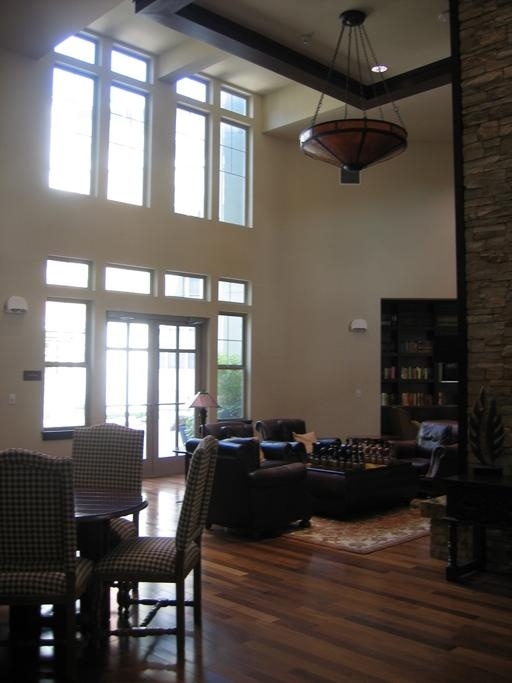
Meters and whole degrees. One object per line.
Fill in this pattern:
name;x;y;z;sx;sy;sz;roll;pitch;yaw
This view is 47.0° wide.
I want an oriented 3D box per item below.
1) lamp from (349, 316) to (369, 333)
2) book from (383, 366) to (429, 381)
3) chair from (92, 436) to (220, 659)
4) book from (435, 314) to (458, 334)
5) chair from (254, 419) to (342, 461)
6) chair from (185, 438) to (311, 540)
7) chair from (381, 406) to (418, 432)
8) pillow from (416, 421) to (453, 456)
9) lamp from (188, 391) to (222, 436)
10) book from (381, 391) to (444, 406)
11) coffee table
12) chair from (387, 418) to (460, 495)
lamp;1.702;-0.257;9.748;0.327;0.247;0.133;1;-6;-4
book;2.646;0.571;10.167;0.641;0.235;0.206;0;-18;1
chair;-0.456;0.938;2.830;0.522;0.953;0.620;1;-6;-4
book;3.197;-0.278;9.920;0.343;0.311;0.174;6;-12;5
chair;0.446;1.185;7.116;0.516;0.474;0.473;4;-12;-34
chair;-0.035;1.199;5.065;0.825;0.782;0.879;1;-6;-31
chair;2.333;1.330;9.738;0.506;0.551;0.413;2;1;-15
pillow;2.143;1.161;7.080;0.168;0.372;0.366;22;-17;-29
lamp;-0.577;0.829;6.509;0.448;0.509;0.412;-5;-13;10
book;2.588;1.017;10.087;0.858;0.229;0.280;-1;-6;15
coffee table;0.961;1.395;5.450;0.805;0.343;0.579;1;-5;-38
chair;1.966;1.352;6.842;0.803;0.795;0.812;-2;-2;28
